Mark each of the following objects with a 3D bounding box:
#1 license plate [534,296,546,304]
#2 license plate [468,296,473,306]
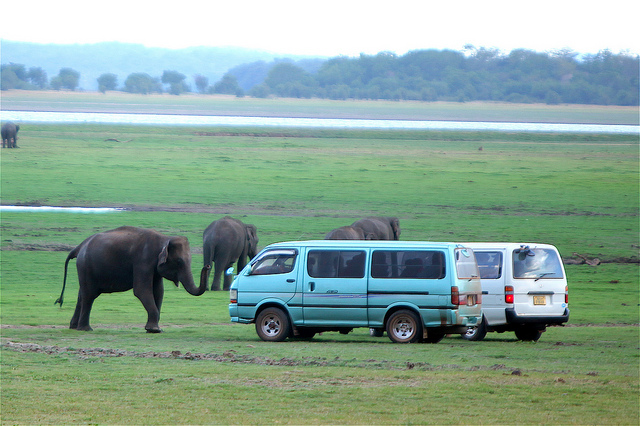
[{"bbox_3d":[9.669,3.805,56.817,0.505,0.245,0.057,2,-13,6],"label":"license plate"},{"bbox_3d":[6.548,3.782,56.061,0.051,0.406,0.260,-1,-3,44],"label":"license plate"}]
